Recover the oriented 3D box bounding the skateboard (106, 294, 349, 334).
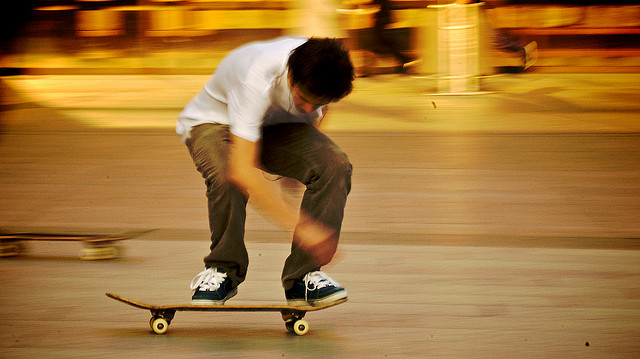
[{"bbox_3d":[-1.005,0.969,4.971,2.423,0.290,0.497,2,-3,-2],"label":"skateboard"}]

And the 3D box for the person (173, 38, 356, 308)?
[{"bbox_3d":[-0.371,-0.042,4.874,1.333,1.955,0.912,-4,25,-3],"label":"person"}]
